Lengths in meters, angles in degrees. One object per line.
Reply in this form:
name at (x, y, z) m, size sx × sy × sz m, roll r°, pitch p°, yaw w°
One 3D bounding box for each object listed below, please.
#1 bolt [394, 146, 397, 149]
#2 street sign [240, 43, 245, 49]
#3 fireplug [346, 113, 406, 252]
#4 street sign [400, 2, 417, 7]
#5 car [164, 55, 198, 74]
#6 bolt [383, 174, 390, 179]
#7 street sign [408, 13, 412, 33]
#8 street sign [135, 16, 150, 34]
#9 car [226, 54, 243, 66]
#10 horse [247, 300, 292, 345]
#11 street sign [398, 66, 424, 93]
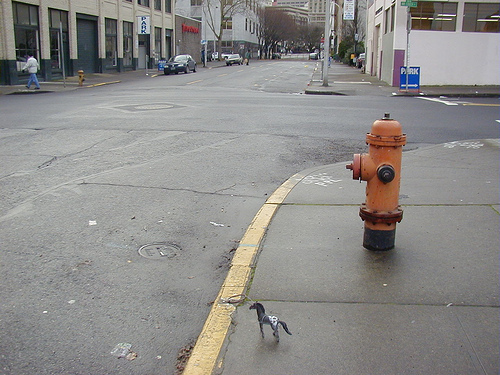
bolt at (1.519, -0.415, 4.564) m, size 0.014 × 0.020 × 0.019 m, roll 9°, pitch 16°, yaw -3°
street sign at (-2.054, -36.366, 113.522) m, size 0.728 × 1.326 × 2.129 m, roll 5°, pitch 18°, yaw 17°
fireplug at (1.368, -0.049, 4.717) m, size 0.568 × 1.457 × 0.340 m, roll 6°, pitch 17°, yaw 20°
street sign at (9.118, -10.443, 25.108) m, size 0.838 × 0.265 × 1.339 m, roll 5°, pitch 19°, yaw 15°
car at (-7.100, -12.706, 45.599) m, size 2.408 × 1.803 × 4.419 m, roll 1°, pitch 18°, yaw 4°
bolt at (1.426, -0.118, 4.568) m, size 0.039 × 0.044 × 0.010 m, roll 2°, pitch -11°, yaw 11°
street sign at (9.030, -9.205, 24.791) m, size 0.112 × 0.979 × 1.394 m, roll 6°, pitch 18°, yaw 20°
street sign at (-12.038, -18.318, 49.651) m, size 2.114 × 1.892 × 1.290 m, roll 11°, pitch 20°, yaw 32°
car at (-2.506, -20.509, 70.817) m, size 2.482 × 1.466 × 5.066 m, roll -1°, pitch 18°, yaw -4°
horse at (0.156, 1.093, 3.517) m, size 0.404 × 0.280 × 0.088 m, roll 18°, pitch 29°, yaw 39°
street sign at (9.780, -6.480, 26.454) m, size 1.385 × 1.407 × 1.079 m, roll -10°, pitch 20°, yaw -30°
